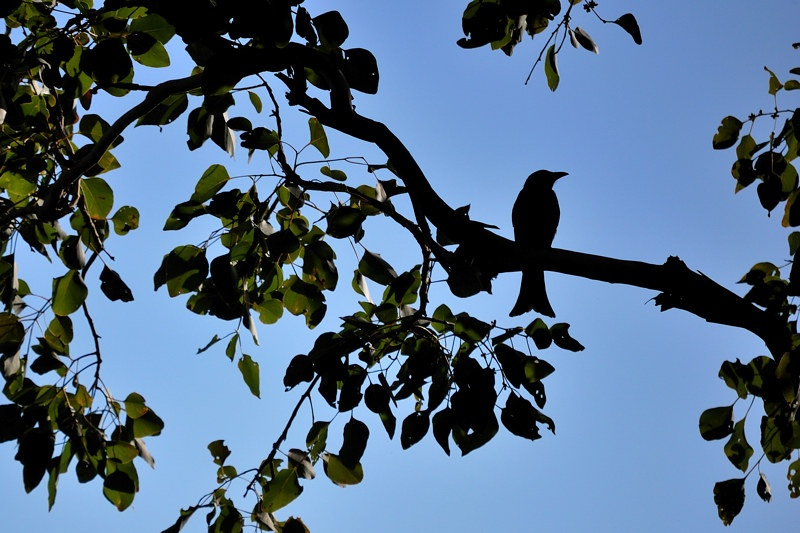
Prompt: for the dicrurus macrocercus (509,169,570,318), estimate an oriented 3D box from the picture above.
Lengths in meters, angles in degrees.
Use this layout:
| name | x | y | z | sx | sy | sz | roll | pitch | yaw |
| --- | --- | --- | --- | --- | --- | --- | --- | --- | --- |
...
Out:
| name | x | y | z | sx | sy | sz | roll | pitch | yaw |
| --- | --- | --- | --- | --- | --- | --- | --- | --- | --- |
| dicrurus macrocercus | 0.648 | -0.111 | 5.369 | 0.249 | 0.854 | 0.248 | -5 | -34 | 18 |
